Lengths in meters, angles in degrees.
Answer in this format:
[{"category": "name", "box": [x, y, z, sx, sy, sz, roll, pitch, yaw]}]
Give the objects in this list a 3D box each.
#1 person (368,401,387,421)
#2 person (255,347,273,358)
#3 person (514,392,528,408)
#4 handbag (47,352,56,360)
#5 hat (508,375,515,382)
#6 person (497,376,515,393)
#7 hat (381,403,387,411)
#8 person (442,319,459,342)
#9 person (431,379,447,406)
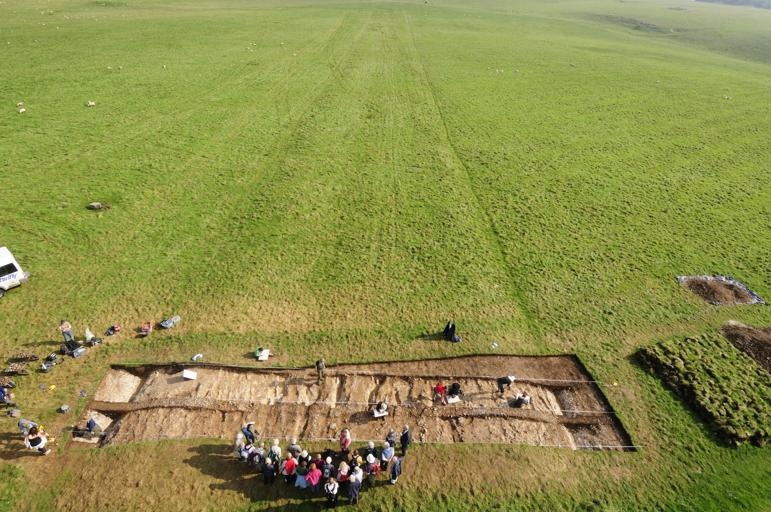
[{"category": "person", "box": [-0.539, 11.903, 32.665, 1.190, 0.564, 1.453, 2, -3, -9]}, {"category": "person", "box": [-9.937, 8.021, 34.983, 1.215, 0.371, 1.127, -31, 49, -32]}, {"category": "person", "box": [10.534, 11.284, 33.315, 0.962, 0.779, 0.869, -15, 45, -16]}, {"category": "handbag", "box": [-26.181, 7.924, 33.603, 0.434, 0.312, 0.644, 21, 3, 13]}, {"category": "hat", "box": [9.903, 9.731, 33.766, 0.649, 0.271, 0.721, 3, 12, 5]}, {"category": "person", "box": [9.317, 10.052, 33.609, 1.782, 1.463, 0.954, -3, 48, -1]}, {"category": "hat", "box": [-0.112, 11.537, 32.720, 0.588, 0.331, 0.522, 5, 15, 17]}, {"category": "person", "box": [5.485, 6.404, 36.404, 1.417, 1.629, 1.019, -12, 35, -39]}, {"category": "person", "box": [4.197, 10.814, 33.486, 1.335, 0.484, 1.362, 4, 84, 4]}]
